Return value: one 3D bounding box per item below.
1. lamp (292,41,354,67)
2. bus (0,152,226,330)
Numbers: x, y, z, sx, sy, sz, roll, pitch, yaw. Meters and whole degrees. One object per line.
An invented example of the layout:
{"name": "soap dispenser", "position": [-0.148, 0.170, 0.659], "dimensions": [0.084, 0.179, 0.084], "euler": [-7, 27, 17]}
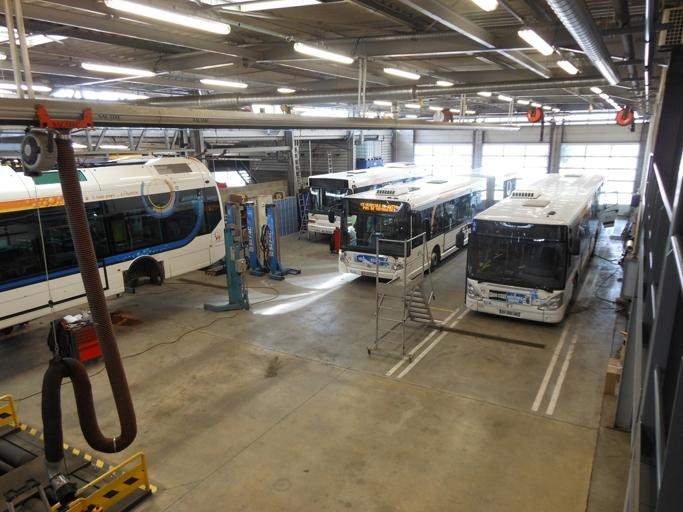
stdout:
{"name": "lamp", "position": [-0.462, -5.713, 13.112], "dimensions": [1.419, 0.509, 3.873], "euler": [-3, 13, 0]}
{"name": "bus", "position": [-7.080, -0.835, 14.207], "dimensions": [1.213, 4.071, 7.268], "euler": [8, 18, 36]}
